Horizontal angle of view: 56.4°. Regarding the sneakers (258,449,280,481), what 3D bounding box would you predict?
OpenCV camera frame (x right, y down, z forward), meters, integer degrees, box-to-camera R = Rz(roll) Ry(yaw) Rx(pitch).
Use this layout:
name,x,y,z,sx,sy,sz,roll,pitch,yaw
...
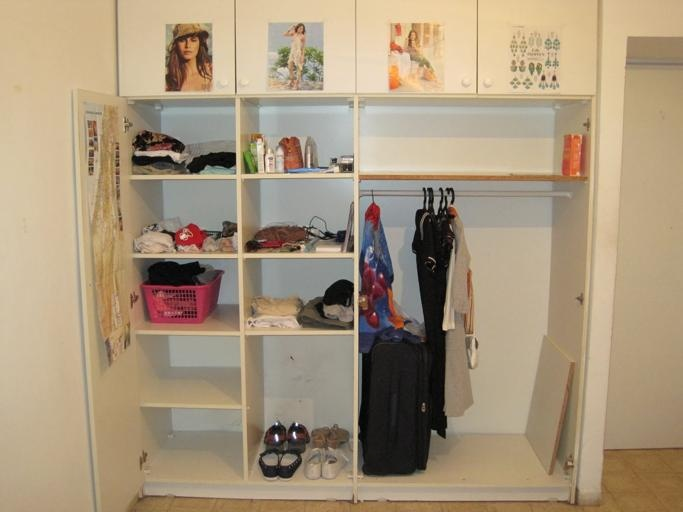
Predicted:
name,x,y,z,sx,sy,sz,roll,pitch,yaw
sneakers,-0.467,1.353,4.144,0.141,0.124,0.190,-2,11,-9

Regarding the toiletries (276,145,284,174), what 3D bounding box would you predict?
name,x,y,z,sx,sy,sz,roll,pitch,yaw
toiletries,-0.375,-0.600,3.942,0.043,0.163,0.063,2,11,12

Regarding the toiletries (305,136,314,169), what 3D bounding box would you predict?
name,x,y,z,sx,sy,sz,roll,pitch,yaw
toiletries,-0.192,-0.637,3.957,0.060,0.183,0.152,-1,11,-3

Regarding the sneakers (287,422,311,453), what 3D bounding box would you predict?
name,x,y,z,sx,sy,sz,roll,pitch,yaw
sneakers,-0.296,1.241,4.350,0.117,0.188,0.078,-2,-21,-3

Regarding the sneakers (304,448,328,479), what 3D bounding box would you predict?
name,x,y,z,sx,sy,sz,roll,pitch,yaw
sneakers,-0.163,1.357,4.134,0.091,0.095,0.253,0,7,-1

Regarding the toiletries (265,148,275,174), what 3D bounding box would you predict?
name,x,y,z,sx,sy,sz,roll,pitch,yaw
toiletries,-0.424,-0.586,3.919,0.055,0.145,0.084,7,13,33

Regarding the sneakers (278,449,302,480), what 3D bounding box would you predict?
name,x,y,z,sx,sy,sz,roll,pitch,yaw
sneakers,-0.333,1.355,4.146,0.136,0.113,0.195,0,11,2

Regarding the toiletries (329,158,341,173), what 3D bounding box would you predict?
name,x,y,z,sx,sy,sz,roll,pitch,yaw
toiletries,-0.036,-0.556,3.942,0.070,0.074,0.174,-1,11,-1

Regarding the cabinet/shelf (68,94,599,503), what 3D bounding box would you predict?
name,x,y,z,sx,sy,sz,roll,pitch,yaw
cabinet/shelf,-0.041,0.208,4.082,2.431,2.226,0.808,0,1,-1

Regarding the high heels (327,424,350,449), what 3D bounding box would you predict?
name,x,y,z,sx,sy,sz,roll,pitch,yaw
high heels,-0.014,1.252,4.400,0.103,0.063,0.142,2,1,13
